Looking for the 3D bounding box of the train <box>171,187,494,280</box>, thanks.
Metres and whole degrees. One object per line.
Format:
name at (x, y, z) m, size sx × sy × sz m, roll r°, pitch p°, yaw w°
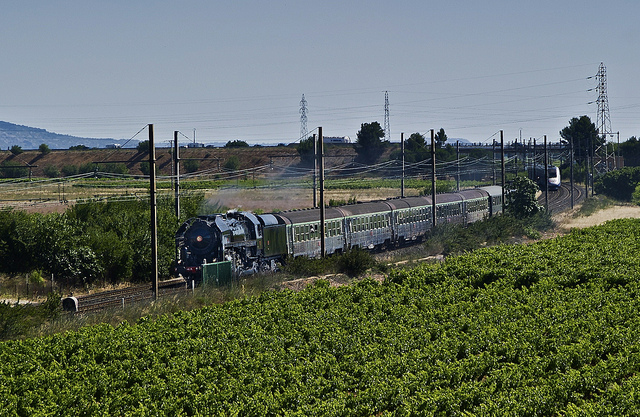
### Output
train at (1.053, 1.443, 50.683) m, size 20.581 × 2.840 × 1.805 m, roll -8°, pitch 8°, yaw -6°
